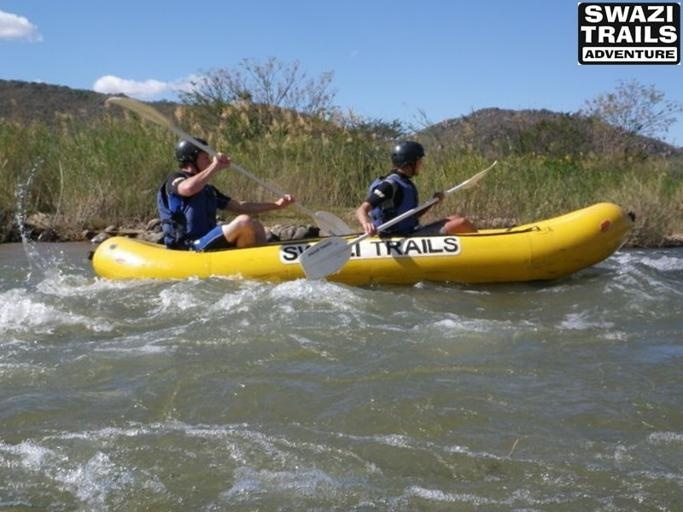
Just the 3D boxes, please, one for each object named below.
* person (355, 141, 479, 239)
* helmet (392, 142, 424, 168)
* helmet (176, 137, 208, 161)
[{"bbox_3d":[0.887,-0.623,8.032,1.495,1.234,0.919,-1,9,-5],"label":"person"},{"bbox_3d":[0.685,-1.097,7.895,0.323,0.245,0.240,11,6,-2],"label":"helmet"},{"bbox_3d":[-1.532,-1.111,7.676,0.289,0.252,0.236,-30,24,-14],"label":"helmet"}]
